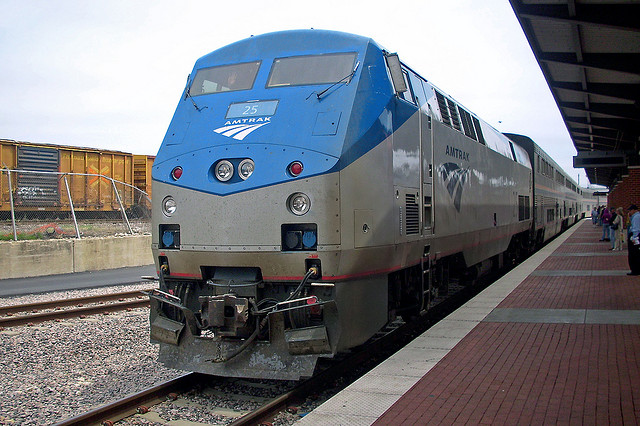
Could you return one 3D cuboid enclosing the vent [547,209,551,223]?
[{"bbox_3d":[12.404,0.130,23.983,0.066,1.012,0.693,-6,-4,31],"label":"vent"}]

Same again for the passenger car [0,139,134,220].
[{"bbox_3d":[-14.182,-1.596,23.964,4.019,3.396,6.477,-2,-2,27],"label":"passenger car"}]

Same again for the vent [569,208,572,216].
[{"bbox_3d":[23.620,-0.177,41.725,0.057,0.425,0.710,-1,1,19],"label":"vent"}]

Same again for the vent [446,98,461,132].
[{"bbox_3d":[3.126,-2.281,10.346,0.137,0.570,0.572,-10,3,19],"label":"vent"}]

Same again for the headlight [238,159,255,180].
[{"bbox_3d":[-1.092,-0.637,6.460,0.261,0.276,0.070,3,2,33],"label":"headlight"}]

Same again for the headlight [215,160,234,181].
[{"bbox_3d":[-1.424,-0.625,6.549,0.268,0.284,0.069,-1,1,25],"label":"headlight"}]
